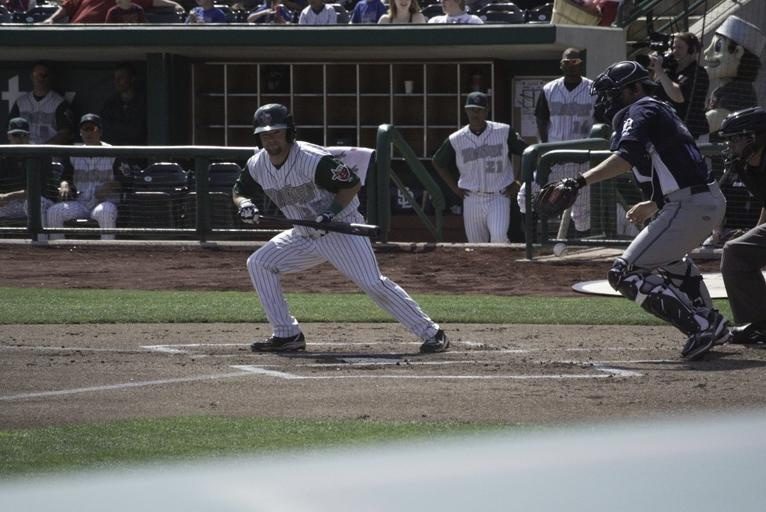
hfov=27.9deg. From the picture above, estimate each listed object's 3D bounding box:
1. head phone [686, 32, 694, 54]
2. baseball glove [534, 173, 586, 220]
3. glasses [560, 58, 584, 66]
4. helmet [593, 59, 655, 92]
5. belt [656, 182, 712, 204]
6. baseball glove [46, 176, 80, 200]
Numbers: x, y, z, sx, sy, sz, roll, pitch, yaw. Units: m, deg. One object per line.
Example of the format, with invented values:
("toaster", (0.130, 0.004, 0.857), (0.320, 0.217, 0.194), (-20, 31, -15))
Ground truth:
("head phone", (3.807, -2.633, 19.168), (0.088, 0.255, 0.304), (-1, 5, 12))
("baseball glove", (1.783, -0.608, 15.336), (0.321, 0.417, 0.703), (-5, 6, -35))
("glasses", (2.378, -2.497, 19.829), (0.240, 0.084, 0.204), (0, 4, 12))
("helmet", (2.346, -1.765, 15.250), (0.600, 0.305, 0.219), (-1, 5, 6))
("belt", (2.898, -0.587, 15.134), (0.374, 0.080, 0.275), (-11, 9, 35))
("baseball glove", (-4.080, -0.863, 19.574), (0.380, 0.283, 0.064), (-1, 6, 8))
